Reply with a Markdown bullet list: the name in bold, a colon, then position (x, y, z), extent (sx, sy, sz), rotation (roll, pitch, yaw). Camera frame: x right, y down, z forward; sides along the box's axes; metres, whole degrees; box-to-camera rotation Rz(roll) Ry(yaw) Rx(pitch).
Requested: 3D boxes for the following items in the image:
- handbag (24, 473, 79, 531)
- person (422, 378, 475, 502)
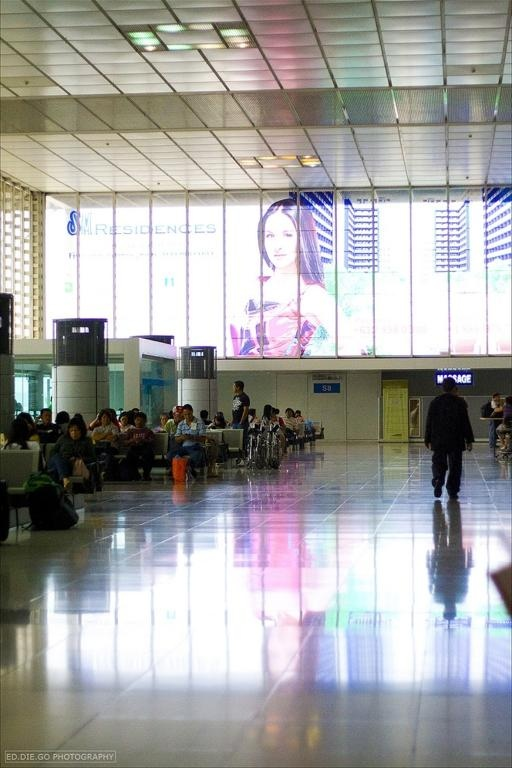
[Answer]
- **handbag**: position (-2.474, 1.404, 8.215), extent (0.696, 0.770, 0.485), rotation (3, -1, -35)
- **person**: position (2.948, 0.828, 10.434), extent (0.680, 1.898, 1.132), rotation (-2, -4, 17)
